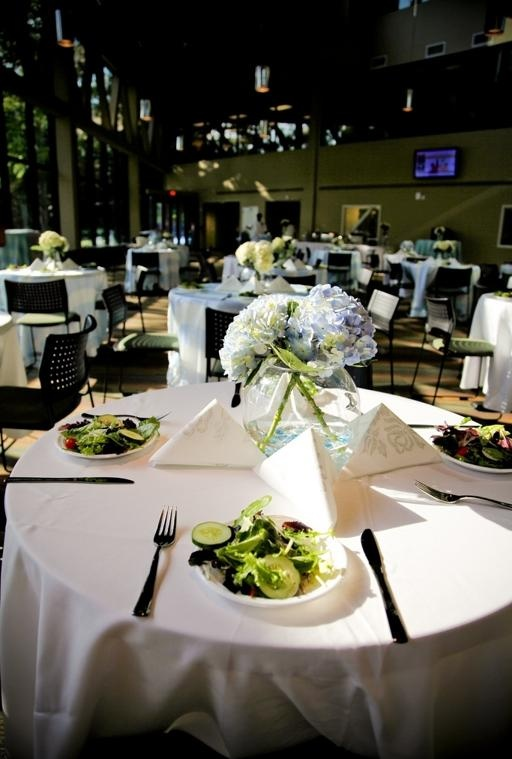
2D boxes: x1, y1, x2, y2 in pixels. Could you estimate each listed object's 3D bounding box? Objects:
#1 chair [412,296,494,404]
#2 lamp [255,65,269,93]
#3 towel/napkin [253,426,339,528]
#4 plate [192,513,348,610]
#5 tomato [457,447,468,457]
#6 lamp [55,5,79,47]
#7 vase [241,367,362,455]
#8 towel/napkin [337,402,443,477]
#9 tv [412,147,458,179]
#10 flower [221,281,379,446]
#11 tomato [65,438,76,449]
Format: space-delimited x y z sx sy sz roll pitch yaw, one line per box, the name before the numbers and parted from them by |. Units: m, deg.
chair | 1.530 -0.230 4.182 0.455 0.714 0.446 4 11 11
lamp | 0.059 -3.619 6.577 0.138 0.222 0.218 0 16 -8
towel/napkin | 0.076 0.182 1.015 0.134 0.156 0.054 -35 -21 6
plate | 0.033 0.261 0.806 0.243 0.069 0.145 -5 17 -22
tomato | 0.472 0.166 1.253 0.015 0.019 0.028 8 -15 0
lamp | -1.855 -3.369 5.280 0.176 0.247 0.459 -4 17 -18
vase | 0.112 0.063 1.335 0.295 0.205 0.293 2 12 2
towel/napkin | 0.299 0.130 1.219 0.183 0.090 0.152 -7 15 -10
tv | 3.879 -4.676 11.902 0.239 0.589 1.056 -10 20 -34
flower | 0.097 -0.024 1.314 0.399 0.398 0.339 -2 9 -2
tomato | -0.422 0.147 1.240 0.017 0.019 0.024 1 -13 5
